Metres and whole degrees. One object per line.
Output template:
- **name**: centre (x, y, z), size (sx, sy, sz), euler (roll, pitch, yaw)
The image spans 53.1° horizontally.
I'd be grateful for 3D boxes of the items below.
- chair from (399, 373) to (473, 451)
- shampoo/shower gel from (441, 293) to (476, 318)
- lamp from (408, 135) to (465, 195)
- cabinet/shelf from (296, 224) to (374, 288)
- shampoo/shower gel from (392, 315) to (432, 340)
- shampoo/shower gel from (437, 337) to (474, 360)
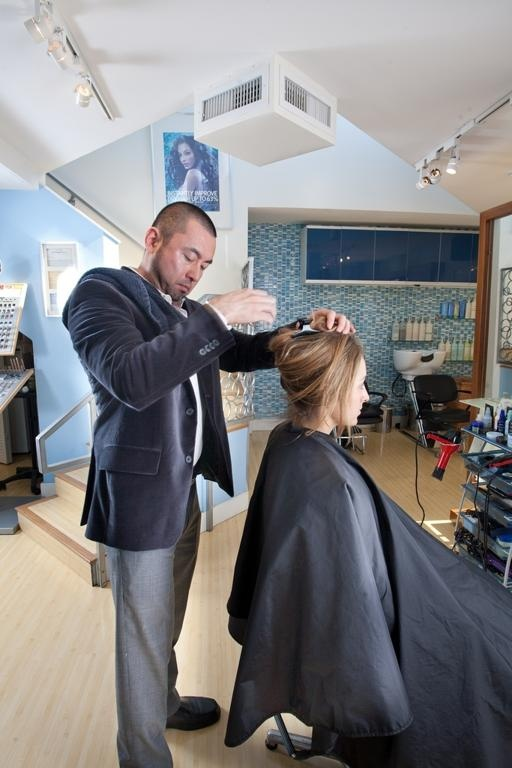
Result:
- **chair**: centre (1.916, 0.266, 5.303), size (0.547, 0.683, 0.724), euler (-4, 12, -12)
- **shampoo/shower gel**: centre (2.441, -0.934, 6.235), size (0.437, 0.290, 0.160), euler (-3, 8, -21)
- **lamp**: centre (0.941, -1.148, 2.689), size (0.062, 0.166, 0.238), euler (-2, 8, -22)
- **cabinet/shelf**: centre (0.897, -1.328, 5.854), size (1.000, 0.782, 0.539), euler (0, 6, -3)
- **shampoo/shower gel**: centre (1.830, -0.753, 6.021), size (0.459, 0.333, 0.255), euler (0, -5, 4)
- **shampoo/shower gel**: centre (2.362, -0.423, 6.115), size (0.367, 0.375, 0.204), euler (0, -5, -7)
